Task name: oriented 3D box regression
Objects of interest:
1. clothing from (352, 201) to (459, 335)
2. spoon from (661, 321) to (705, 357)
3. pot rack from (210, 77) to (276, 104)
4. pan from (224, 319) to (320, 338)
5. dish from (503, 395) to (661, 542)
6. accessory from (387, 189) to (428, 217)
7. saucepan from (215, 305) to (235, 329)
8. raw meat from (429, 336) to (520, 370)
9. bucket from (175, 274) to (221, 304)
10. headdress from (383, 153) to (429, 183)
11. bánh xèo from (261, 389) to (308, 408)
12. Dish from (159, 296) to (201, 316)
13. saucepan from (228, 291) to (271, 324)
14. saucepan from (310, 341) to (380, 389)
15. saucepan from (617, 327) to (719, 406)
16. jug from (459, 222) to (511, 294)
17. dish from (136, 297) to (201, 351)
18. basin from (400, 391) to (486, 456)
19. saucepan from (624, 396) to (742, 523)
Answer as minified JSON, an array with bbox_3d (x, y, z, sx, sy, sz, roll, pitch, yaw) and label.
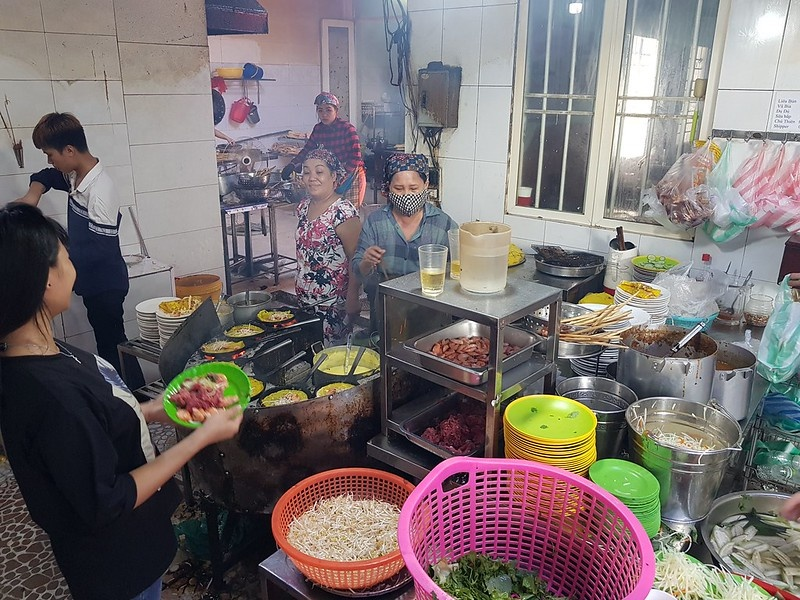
[{"bbox_3d":[0.067,-0.173,3.866,0.773,0.987,0.488,2,26,3],"label":"clothing"},{"bbox_3d":[1.199,0.171,2.303,0.024,0.179,0.024,43,0,3],"label":"spoon"},{"bbox_3d":[-2.077,-2.718,7.006,0.080,0.323,0.818,12,23,32],"label":"pot rack"},{"bbox_3d":[-0.741,0.154,2.990,0.345,0.058,0.196,2,13,25],"label":"pan"},{"bbox_3d":[0.513,0.497,1.851,0.320,0.193,0.524,5,14,22],"label":"dish"},{"bbox_3d":[0.046,-0.639,3.547,0.179,0.105,0.181,0,35,-1],"label":"accessory"},{"bbox_3d":[-1.043,0.092,3.260,0.122,0.126,0.124,-2,23,0],"label":"saucepan"},{"bbox_3d":[0.262,0.192,2.075,0.167,0.040,0.168,18,30,40],"label":"raw meat"},{"bbox_3d":[-1.538,-0.117,4.239,0.350,0.209,0.375,0,8,0],"label":"bucket"},{"bbox_3d":[0.053,-0.876,3.558,0.189,0.127,0.225,2,22,5],"label":"headdress"},{"bbox_3d":[-0.523,0.430,2.457,0.207,0.030,0.171,-8,21,-17],"label":"bánh xèo"},{"bbox_3d":[-1.391,0.038,3.426,0.196,0.072,0.213,-6,24,10],"label":"Dish"},{"bbox_3d":[-0.901,0.039,3.253,0.208,0.128,0.222,-3,23,-2],"label":"saucepan"},{"bbox_3d":[-0.229,0.304,2.621,0.309,0.136,0.397,1,8,-18],"label":"saucepan"},{"bbox_3d":[1.071,0.282,2.215,0.306,0.243,0.252,-27,34,-34],"label":"saucepan"},{"bbox_3d":[0.309,-0.150,2.000,0.183,0.251,0.153,1,20,6],"label":"jug"},{"bbox_3d":[-1.497,0.109,3.507,0.379,0.180,0.413,1,14,1],"label":"dish"},{"bbox_3d":[0.207,0.507,2.178,0.218,0.048,0.223,-3,17,1],"label":"basin"},{"bbox_3d":[1.004,0.568,1.949,0.368,0.336,0.338,-17,22,-32],"label":"saucepan"}]
